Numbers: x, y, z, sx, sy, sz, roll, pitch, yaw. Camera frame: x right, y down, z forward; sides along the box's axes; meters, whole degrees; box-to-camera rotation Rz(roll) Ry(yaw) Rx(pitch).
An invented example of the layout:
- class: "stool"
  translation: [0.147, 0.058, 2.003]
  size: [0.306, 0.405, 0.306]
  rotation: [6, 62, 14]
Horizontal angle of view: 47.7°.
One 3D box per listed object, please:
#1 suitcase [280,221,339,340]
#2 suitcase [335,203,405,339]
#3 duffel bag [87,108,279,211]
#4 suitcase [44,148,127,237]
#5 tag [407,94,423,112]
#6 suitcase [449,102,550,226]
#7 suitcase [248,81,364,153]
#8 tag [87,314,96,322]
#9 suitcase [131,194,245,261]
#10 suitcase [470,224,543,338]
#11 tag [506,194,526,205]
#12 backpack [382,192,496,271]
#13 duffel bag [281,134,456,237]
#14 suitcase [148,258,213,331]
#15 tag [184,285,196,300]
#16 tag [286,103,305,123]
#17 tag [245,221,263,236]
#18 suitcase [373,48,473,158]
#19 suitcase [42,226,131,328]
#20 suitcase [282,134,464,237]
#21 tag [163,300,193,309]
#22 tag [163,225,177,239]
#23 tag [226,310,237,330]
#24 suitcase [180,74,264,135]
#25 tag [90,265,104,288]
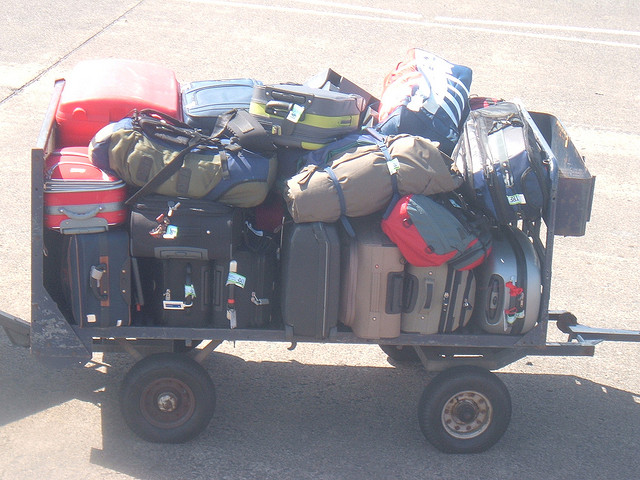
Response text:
- class: "suitcase"
  translation: [-0.071, 0.323, 5.561]
  size: [0.402, 0.839, 0.407]
  rotation: [-1, 28, -7]
- class: "suitcase"
  translation: [0.383, 0.239, 5.564]
  size: [0.461, 0.902, 0.919]
  rotation: [1, 7, -4]
- class: "duffel bag"
  translation: [-1.101, -0.633, 5.841]
  size: [1.484, 0.716, 0.960]
  rotation: [7, 15, -13]
- class: "suitcase"
  translation: [-1.835, -0.396, 5.731]
  size: [0.871, 0.481, 0.897]
  rotation: [0, 18, -5]
- class: "tag"
  translation: [0.860, -1.239, 6.577]
  size: [0.126, 0.076, 0.213]
  rotation: [12, 47, 18]
- class: "suitcase"
  translation: [1.523, -0.609, 5.878]
  size: [0.375, 0.692, 0.984]
  rotation: [30, 34, -45]
- class: "suitcase"
  translation: [-0.141, -1.053, 6.044]
  size: [0.688, 0.424, 0.678]
  rotation: [7, 17, -20]
- class: "tag"
  translation: [-1.735, 0.596, 5.479]
  size: [0.053, 0.054, 0.013]
  rotation: [4, 1, -8]
- class: "suitcase"
  translation: [-0.851, -0.033, 5.785]
  size: [0.742, 0.393, 0.611]
  rotation: [2, 2, 32]
- class: "suitcase"
  translation: [1.518, 0.531, 6.032]
  size: [0.403, 0.726, 0.783]
  rotation: [5, -9, 0]
- class: "tag"
  translation: [1.491, -0.307, 5.508]
  size: [0.103, 0.075, 0.027]
  rotation: [-3, 11, 15]
- class: "backpack"
  translation: [0.917, -0.021, 5.630]
  size: [0.758, 0.569, 0.302]
  rotation: [6, -16, -19]
- class: "duffel bag"
  translation: [0.248, -0.590, 6.162]
  size: [1.455, 0.733, 1.236]
  rotation: [-7, 27, -17]
- class: "suitcase"
  translation: [-1.070, 0.408, 5.543]
  size: [0.555, 0.530, 0.133]
  rotation: [4, 6, 4]
- class: "tag"
  translation: [-1.007, 0.405, 5.596]
  size: [0.082, 0.111, 0.046]
  rotation: [-3, 29, -12]
- class: "tag"
  translation: [-0.202, -1.026, 5.898]
  size: [0.090, 0.127, 0.107]
  rotation: [24, 34, 34]
- class: "tag"
  translation: [-0.537, -0.073, 5.797]
  size: [0.132, 0.039, 0.092]
  rotation: [40, -2, -19]
- class: "suitcase"
  translation: [0.993, -1.330, 6.900]
  size: [0.810, 1.092, 0.363]
  rotation: [19, -28, 3]
- class: "suitcase"
  translation: [-1.670, 0.230, 5.850]
  size: [0.503, 0.853, 0.881]
  rotation: [1, 7, -8]
- class: "suitcase"
  translation: [0.517, -0.296, 5.858]
  size: [1.345, 0.470, 0.864]
  rotation: [-10, -17, 8]
- class: "tag"
  translation: [-1.114, 0.504, 5.580]
  size: [0.140, 0.053, 0.083]
  rotation: [1, 1, -4]
- class: "tag"
  translation: [-1.137, -0.058, 5.445]
  size: [0.091, 0.095, 0.022]
  rotation: [5, -2, -6]
- class: "tag"
  translation: [-0.690, 0.623, 5.636]
  size: [0.083, 0.163, 0.091]
  rotation: [-2, 28, -9]
- class: "suitcase"
  translation: [-0.901, -1.352, 6.916]
  size: [0.997, 0.314, 1.051]
  rotation: [0, 16, 0]
- class: "tag"
  translation: [-1.673, 0.281, 5.391]
  size: [0.110, 0.173, 0.102]
  rotation: [1, 9, -21]
